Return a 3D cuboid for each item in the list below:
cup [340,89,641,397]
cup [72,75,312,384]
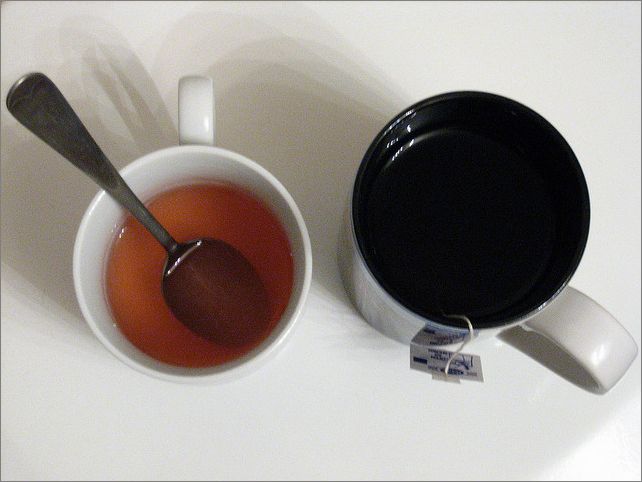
[{"bbox_3d":[0.172,-0.015,0.757,0.253,0.404,0.271,-40,-4,-4],"label":"cup"},{"bbox_3d":[-0.168,-0.018,0.720,0.252,0.375,0.163,-2,4,-6],"label":"cup"}]
